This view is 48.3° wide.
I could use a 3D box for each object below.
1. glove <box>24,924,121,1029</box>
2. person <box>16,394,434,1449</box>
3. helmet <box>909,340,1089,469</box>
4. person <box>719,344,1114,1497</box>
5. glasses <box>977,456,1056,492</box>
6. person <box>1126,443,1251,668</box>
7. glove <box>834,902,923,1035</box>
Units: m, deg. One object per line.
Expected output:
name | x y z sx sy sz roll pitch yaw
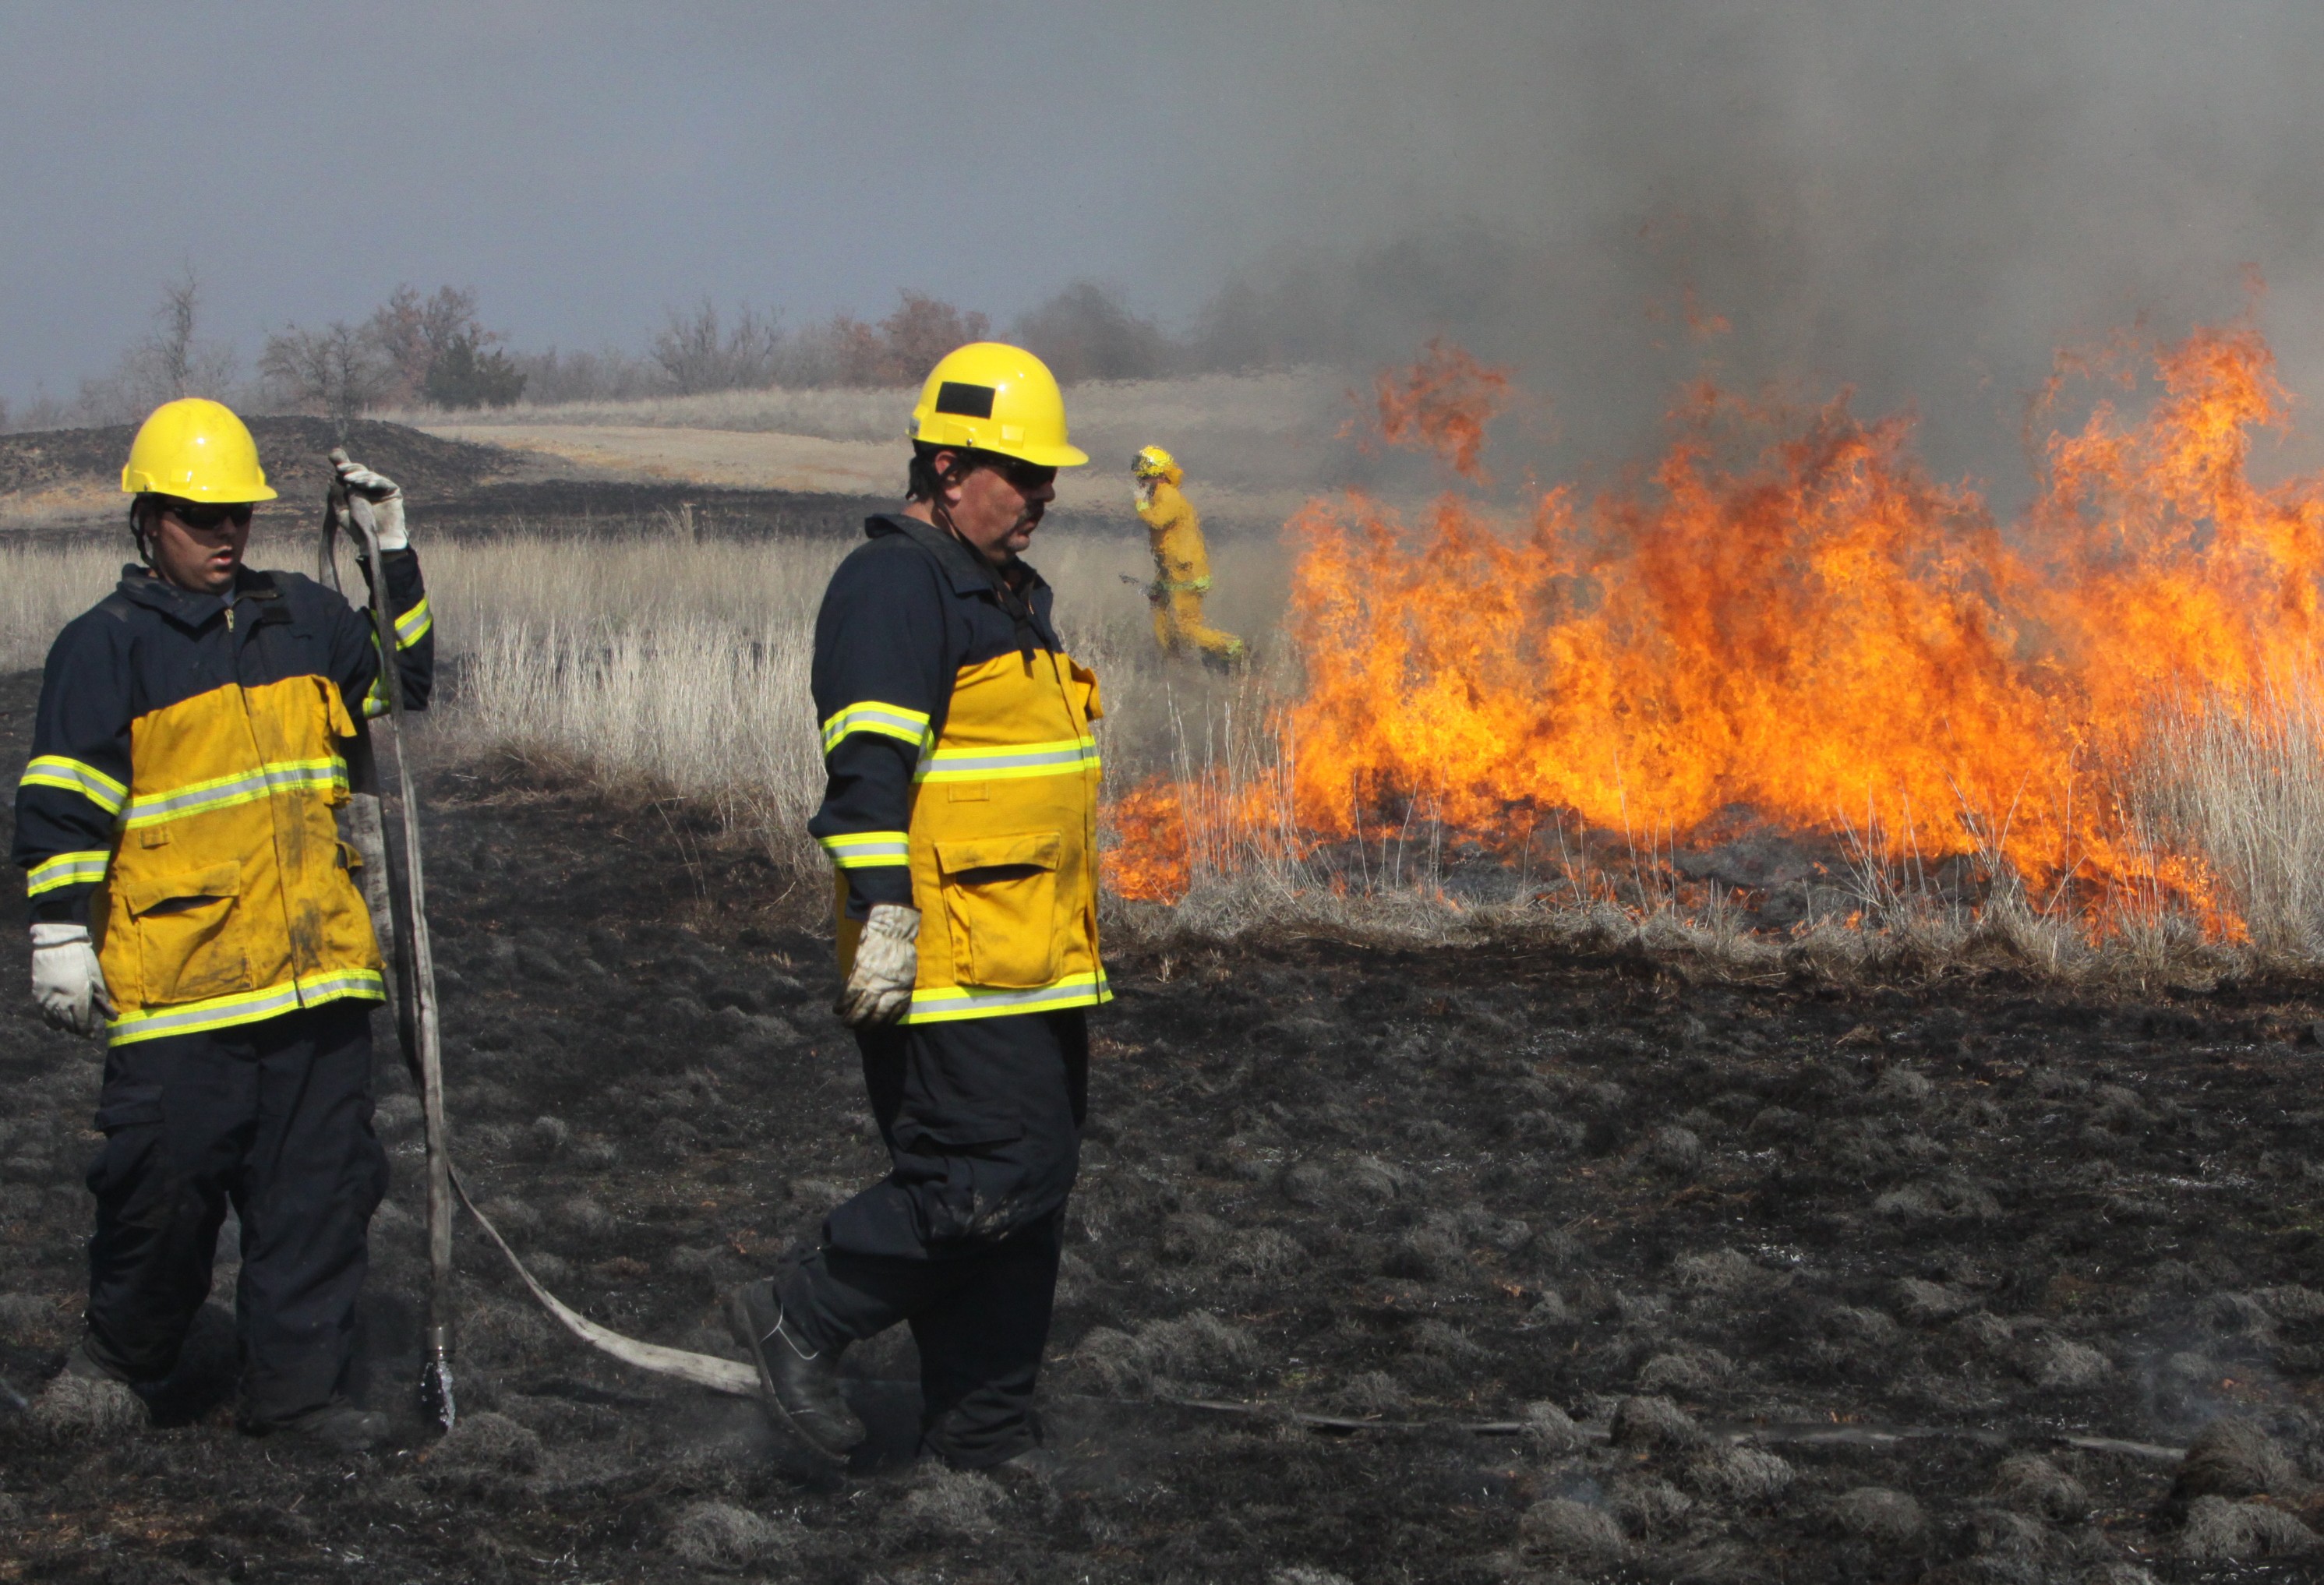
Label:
glove | -3.427 0.580 8.238 0.252 0.319 0.142 -5 2 -16
person | -2.990 0.384 8.323 1.111 3.208 0.573 3 5 -3
helmet | -0.504 -1.225 8.106 0.470 0.274 0.368 10 15 17
person | -0.652 0.388 8.007 0.995 3.520 0.534 3 5 -8
glasses | -0.436 -0.992 8.086 0.147 0.076 0.113 13 13 29
person | 0.177 -1.518 16.939 0.889 1.395 0.496 5 5 19
glove | -0.834 0.529 7.733 0.197 0.356 0.137 8 -6 2
